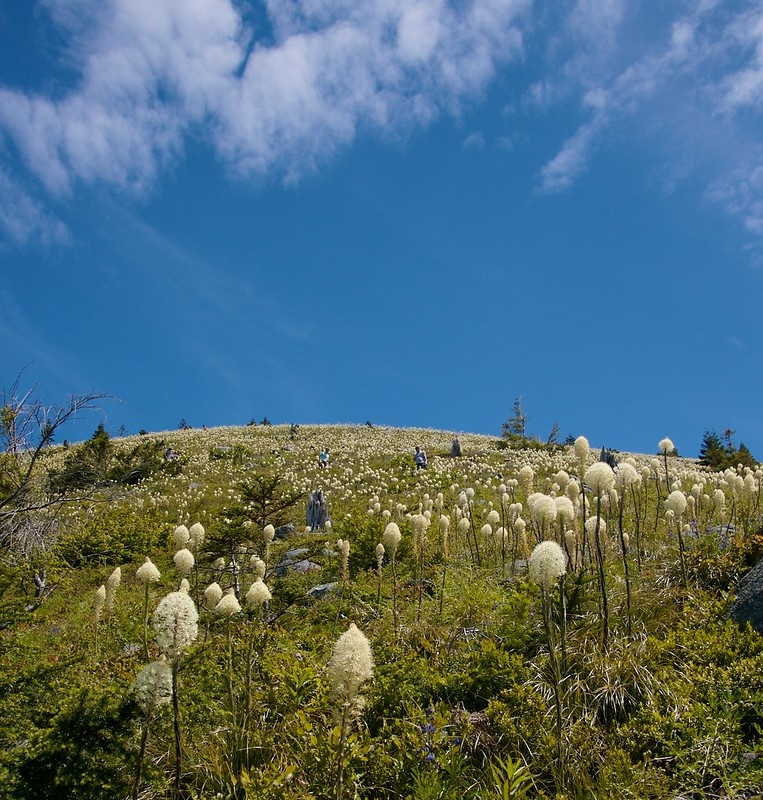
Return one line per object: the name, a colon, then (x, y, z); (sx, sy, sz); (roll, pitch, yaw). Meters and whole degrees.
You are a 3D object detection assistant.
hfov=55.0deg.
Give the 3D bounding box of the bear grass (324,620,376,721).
bear grass: (-0.185, 1.690, 4.586); (0.261, 0.562, 0.472); (7, -14, 0)
